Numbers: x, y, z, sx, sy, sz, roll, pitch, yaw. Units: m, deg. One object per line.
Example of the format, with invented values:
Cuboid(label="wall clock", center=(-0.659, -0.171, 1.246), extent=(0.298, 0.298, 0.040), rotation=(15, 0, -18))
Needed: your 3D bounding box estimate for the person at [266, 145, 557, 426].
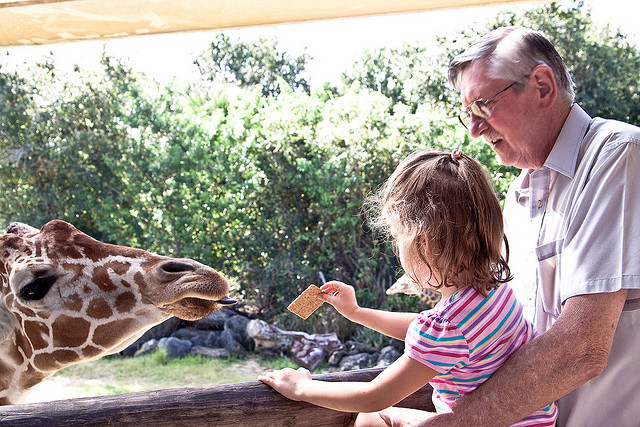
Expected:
Cuboid(label="person", center=(0.598, 0.440, 3.131), extent=(1.358, 1.615, 0.715), rotation=(2, 4, -1))

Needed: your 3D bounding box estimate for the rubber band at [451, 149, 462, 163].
Cuboid(label="rubber band", center=(0.751, -0.325, 3.101), extent=(0.052, 0.074, 0.027), rotation=(4, -29, 21))

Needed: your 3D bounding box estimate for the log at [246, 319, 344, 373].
Cuboid(label="log", center=(-0.462, 2.351, 10.076), extent=(2.186, 1.031, 0.570), rotation=(-13, -1, 35))
